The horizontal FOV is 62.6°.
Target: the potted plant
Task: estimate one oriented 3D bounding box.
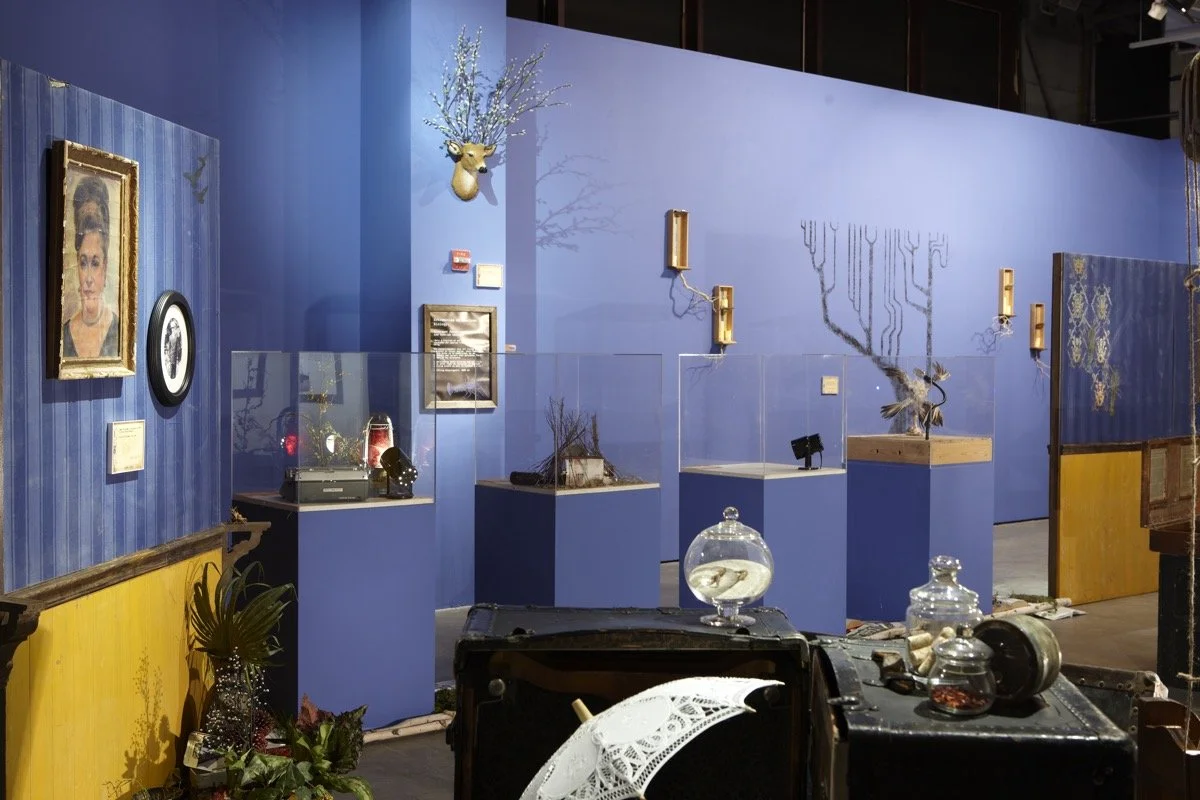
[{"bbox_3d":[-1.805,1.217,4.942,0.421,0.777,0.394,8,14,23],"label":"potted plant"}]

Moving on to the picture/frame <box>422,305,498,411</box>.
[{"bbox_3d":[-1.043,-0.328,7.505,0.574,0.893,0.071,-1,27,-10],"label":"picture/frame"}]

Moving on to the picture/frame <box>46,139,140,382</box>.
[{"bbox_3d":[-2.182,-0.599,4.268,0.175,0.998,0.595,5,13,12],"label":"picture/frame"}]

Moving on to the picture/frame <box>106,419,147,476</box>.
[{"bbox_3d":[-2.109,0.202,4.466,0.244,0.234,0.031,-7,-7,27],"label":"picture/frame"}]
